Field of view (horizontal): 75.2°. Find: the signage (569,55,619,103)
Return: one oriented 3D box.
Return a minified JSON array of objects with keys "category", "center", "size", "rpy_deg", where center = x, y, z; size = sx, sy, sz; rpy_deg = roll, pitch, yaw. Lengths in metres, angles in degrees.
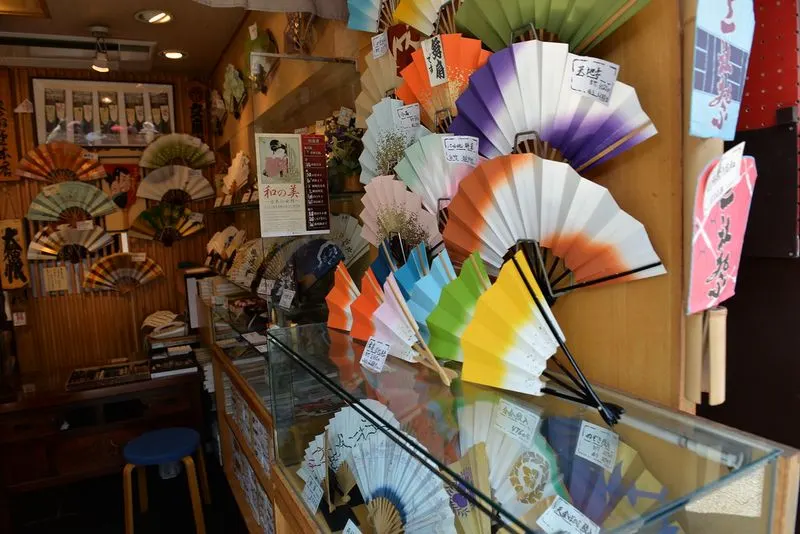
[{"category":"signage","center":[0.453,-0.441,1.219],"size":[0.100,0.076,0.017],"rpy_deg":[27,21,23]}]

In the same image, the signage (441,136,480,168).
[{"category":"signage","center":[0.172,-0.325,1.445],"size":[0.107,0.080,0.009],"rpy_deg":[4,12,17]}]

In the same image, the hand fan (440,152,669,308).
[{"category":"hand fan","center":[0.398,-0.086,1.270],"size":[0.380,0.247,0.033],"rpy_deg":[17,33,21]}]

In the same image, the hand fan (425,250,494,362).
[{"category":"hand fan","center":[0.149,0.107,1.304],"size":[0.031,0.223,0.196],"rpy_deg":[0,50,-47]}]

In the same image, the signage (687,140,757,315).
[{"category":"signage","center":[0.739,-0.108,1.200],"size":[0.357,0.475,0.038],"rpy_deg":[-16,20,-42]}]

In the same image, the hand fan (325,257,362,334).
[{"category":"hand fan","center":[-0.194,0.079,1.673],"size":[0.103,0.081,0.130],"rpy_deg":[19,10,-25]}]

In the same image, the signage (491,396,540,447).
[{"category":"signage","center":[0.266,0.359,1.188],"size":[0.089,0.068,0.009],"rpy_deg":[20,-22,32]}]

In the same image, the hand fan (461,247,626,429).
[{"category":"hand fan","center":[0.318,0.152,1.216],"size":[0.332,0.381,0.255],"rpy_deg":[-4,7,-10]}]

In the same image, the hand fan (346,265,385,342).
[{"category":"hand fan","center":[-0.093,0.079,1.563],"size":[0.120,0.076,0.232],"rpy_deg":[-19,36,11]}]

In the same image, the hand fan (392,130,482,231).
[{"category":"hand fan","center":[0.107,-0.296,1.533],"size":[0.272,0.246,0.027],"rpy_deg":[-23,-24,20]}]

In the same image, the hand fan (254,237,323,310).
[{"category":"hand fan","center":[-0.464,0.024,2.199],"size":[0.300,0.310,0.019],"rpy_deg":[9,10,38]}]

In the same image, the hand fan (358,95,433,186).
[{"category":"hand fan","center":[-0.052,-0.422,1.766],"size":[0.076,0.263,0.266],"rpy_deg":[3,35,-28]}]

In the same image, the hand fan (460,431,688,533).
[{"category":"hand fan","center":[0.326,0.428,1.041],"size":[0.371,0.085,0.234],"rpy_deg":[0,7,18]}]

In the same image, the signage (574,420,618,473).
[{"category":"signage","center":[0.421,0.382,1.115],"size":[0.082,0.090,0.003],"rpy_deg":[17,27,30]}]
